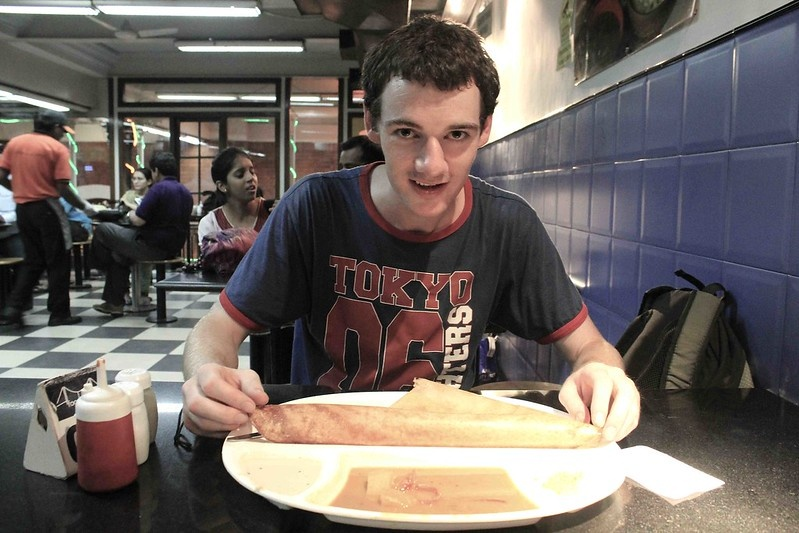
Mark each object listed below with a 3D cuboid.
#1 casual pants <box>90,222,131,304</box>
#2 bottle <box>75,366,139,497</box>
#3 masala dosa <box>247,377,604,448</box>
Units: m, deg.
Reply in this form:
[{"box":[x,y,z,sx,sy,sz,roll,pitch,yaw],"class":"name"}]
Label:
[{"box":[-2.814,-0.029,5.807,0.327,0.796,0.399,-5,11,-35],"class":"casual pants"},{"box":[-0.683,0.365,1.370,0.130,0.294,0.093,-2,9,-22],"class":"bottle"},{"box":[0.065,0.381,1.470,0.738,0.076,0.273,1,16,-3],"class":"masala dosa"}]
